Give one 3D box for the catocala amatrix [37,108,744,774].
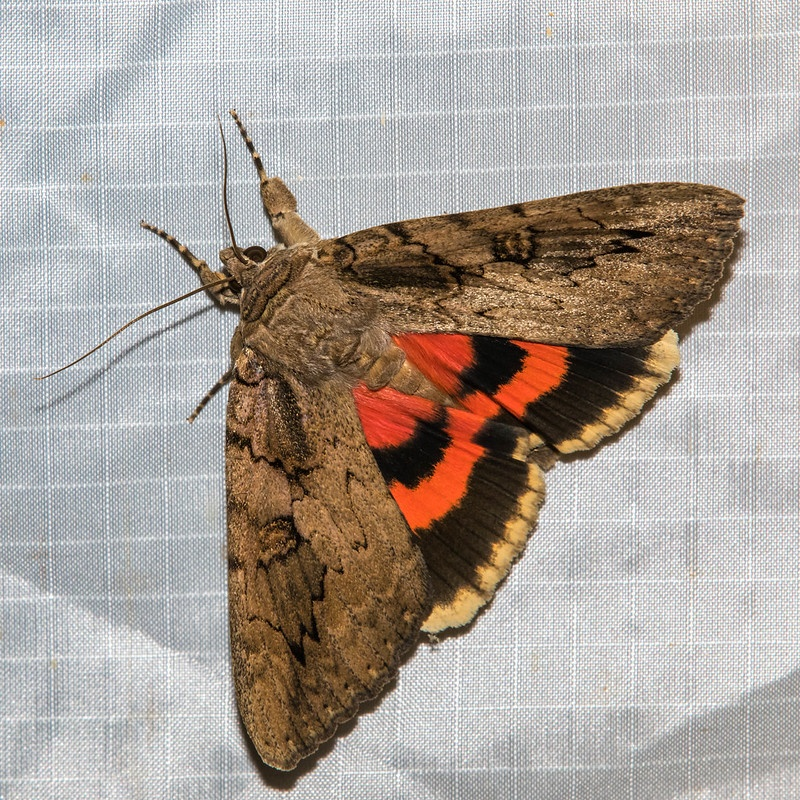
[{"bbox_3d":[0.207,0.248,3.815,1.727,1.529,0.605,-17,-20,21],"label":"catocala amatrix"}]
